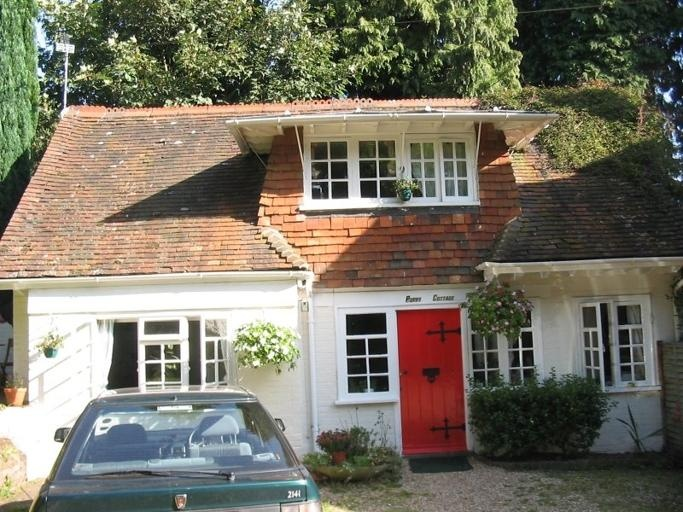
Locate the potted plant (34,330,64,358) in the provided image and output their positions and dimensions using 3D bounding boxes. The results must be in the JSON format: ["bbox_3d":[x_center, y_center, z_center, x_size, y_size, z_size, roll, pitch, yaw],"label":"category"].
[{"bbox_3d":[-5.744,1.764,15.514,0.519,0.515,0.522,2,-7,-9],"label":"potted plant"}]

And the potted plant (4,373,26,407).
[{"bbox_3d":[-6.410,2.709,15.368,0.413,0.529,0.735,-7,15,-22],"label":"potted plant"}]

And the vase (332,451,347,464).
[{"bbox_3d":[-0.034,3.838,14.774,0.226,0.161,0.224,-1,-14,17],"label":"vase"}]

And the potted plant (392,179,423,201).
[{"bbox_3d":[1.371,-1.418,16.618,0.558,0.475,0.494,1,-2,-39],"label":"potted plant"}]

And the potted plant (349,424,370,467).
[{"bbox_3d":[0.347,3.613,14.905,0.469,0.487,0.285,3,-6,-8],"label":"potted plant"}]

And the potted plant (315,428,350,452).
[{"bbox_3d":[-0.153,3.570,15.008,0.473,0.317,0.461,-2,-4,35],"label":"potted plant"}]

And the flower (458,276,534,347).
[{"bbox_3d":[3.148,1.069,15.973,1.373,1.133,1.295,-1,10,-7],"label":"flower"}]
